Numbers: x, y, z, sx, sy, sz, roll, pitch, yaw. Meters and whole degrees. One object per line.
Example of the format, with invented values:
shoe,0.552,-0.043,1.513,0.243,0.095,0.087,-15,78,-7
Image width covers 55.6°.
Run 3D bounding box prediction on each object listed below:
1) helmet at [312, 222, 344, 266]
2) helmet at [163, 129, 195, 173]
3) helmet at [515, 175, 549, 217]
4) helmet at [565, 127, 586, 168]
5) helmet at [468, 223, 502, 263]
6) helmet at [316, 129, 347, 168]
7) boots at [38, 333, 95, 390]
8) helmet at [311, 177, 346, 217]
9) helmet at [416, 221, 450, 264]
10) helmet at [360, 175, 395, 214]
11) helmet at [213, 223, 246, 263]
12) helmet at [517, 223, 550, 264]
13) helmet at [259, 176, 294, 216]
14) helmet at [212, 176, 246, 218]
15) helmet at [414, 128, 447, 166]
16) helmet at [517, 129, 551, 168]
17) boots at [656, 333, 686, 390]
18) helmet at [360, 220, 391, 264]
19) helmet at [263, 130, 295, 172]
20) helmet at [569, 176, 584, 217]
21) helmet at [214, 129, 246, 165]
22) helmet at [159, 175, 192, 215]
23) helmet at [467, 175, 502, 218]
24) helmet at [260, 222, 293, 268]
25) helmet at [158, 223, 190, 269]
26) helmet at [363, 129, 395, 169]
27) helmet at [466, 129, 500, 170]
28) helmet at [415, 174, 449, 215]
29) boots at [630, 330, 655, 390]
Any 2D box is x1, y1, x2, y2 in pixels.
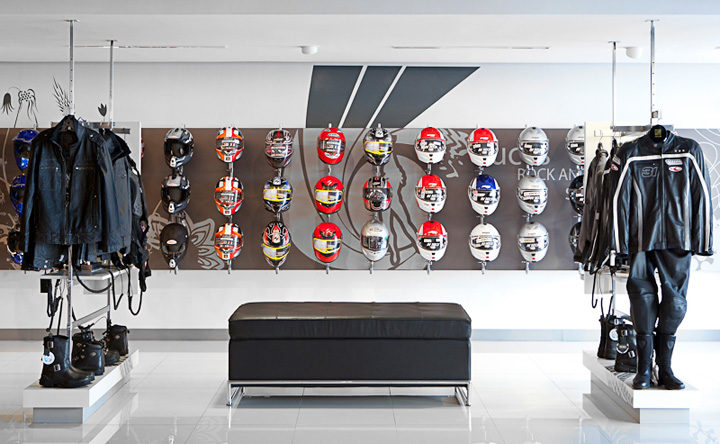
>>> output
helmet,-0.380,0.296,8.582,0.373,0.569,0.269,-1,16,-4
helmet,-2.243,-0.927,8.539,0.377,0.419,0.513,4,20,-4
helmet,2.144,-0.306,8.430,0.398,0.421,0.474,0,7,3
helmet,2.697,-0.915,8.518,0.217,0.500,0.366,3,16,10
helmet,1.599,0.231,8.654,0.426,0.417,0.524,0,15,7
helmet,-0.311,-0.972,8.585,0.395,0.406,0.522,4,19,-3
boots,-2.915,1.421,6.917,0.563,0.503,0.270,3,-2,1
helmet,-0.347,-0.361,8.583,0.405,0.398,0.536,2,26,3
helmet,0.930,0.207,8.649,0.426,0.417,0.545,-2,19,-3
helmet,0.246,-0.369,8.600,0.404,0.393,0.505,3,19,8
helmet,-1.611,0.212,8.582,0.392,0.397,0.505,3,22,-4
helmet,2.181,0.298,8.518,0.385,0.396,0.478,-3,42,17
helmet,-1.003,-0.349,8.542,0.393,0.384,0.491,-1,15,-11
helmet,-1.603,-0.349,8.558,0.394,0.406,0.508,-1,23,-13
helmet,0.901,-0.925,8.604,0.396,0.394,0.500,1,9,2
helmet,2.188,-0.968,8.592,0.405,0.430,0.523,3,25,8
boots,3.126,1.383,6.850,0.290,0.513,0.300,2,16,6
helmet,0.205,0.212,8.626,0.417,0.432,0.531,6,17,2
helmet,-0.959,-0.871,8.490,0.358,0.398,0.468,0,50,-2
helmet,2.711,-0.322,8.391,0.262,0.392,0.306,-1,9,21
helmet,-1.594,-0.999,8.584,0.368,0.383,0.493,3,26,-3
helmet,-2.240,-0.332,8.455,0.357,0.511,0.280,-4,16,-15
helmet,1.558,-0.316,8.427,0.422,0.478,0.506,0,10,2
helmet,-1.052,0.278,8.500,0.407,0.428,0.515,-1,53,-8
helmet,-2.262,0.325,8.477,0.336,0.602,0.250,-4,16,-13
helmet,0.271,-0.919,8.519,0.385,0.508,0.312,-2,16,-6
helmet,1.547,-0.950,8.552,0.392,0.415,0.506,-2,18,-3
helmet,0.910,-0.324,8.555,0.393,0.514,0.301,1,15,3
boots,2.866,1.384,6.846,0.203,0.518,0.356,7,17,23
